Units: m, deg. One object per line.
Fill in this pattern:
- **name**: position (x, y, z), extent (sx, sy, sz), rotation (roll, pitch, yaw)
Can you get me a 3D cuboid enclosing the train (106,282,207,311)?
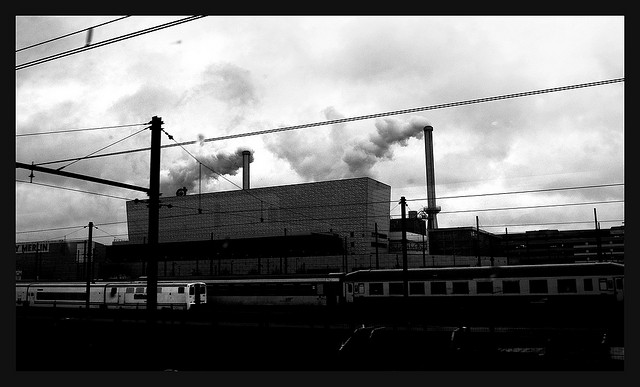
- **train**: position (-14.038, 8.363, 59.399), extent (8.840, 2.230, 1.989), rotation (-3, -3, 20)
